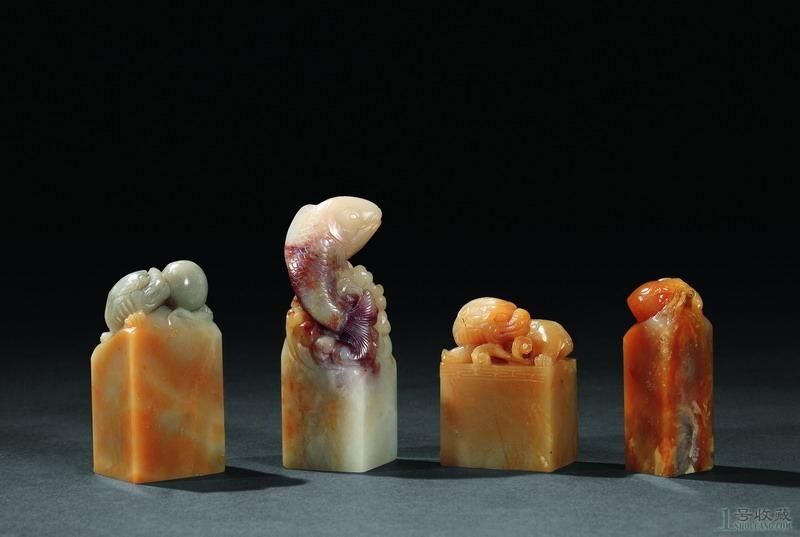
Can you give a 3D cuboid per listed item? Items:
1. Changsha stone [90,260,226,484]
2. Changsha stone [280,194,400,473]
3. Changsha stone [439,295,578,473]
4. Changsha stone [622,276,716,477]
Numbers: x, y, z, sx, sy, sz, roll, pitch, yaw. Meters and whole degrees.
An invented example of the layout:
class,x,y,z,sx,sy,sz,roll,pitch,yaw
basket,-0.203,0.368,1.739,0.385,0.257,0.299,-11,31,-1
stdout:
class,x,y,z,sx,sy,sz,roll,pitch,yaw
Changsha stone,-1.280,0.561,5.499,0.689,1.178,0.313,2,-8,-12
Changsha stone,-0.336,0.365,5.714,0.635,1.533,0.320,1,-8,-3
Changsha stone,0.595,0.640,5.640,0.760,0.946,0.314,0,-8,5
Changsha stone,1.431,0.590,5.466,0.445,1.041,0.288,-1,-8,11
